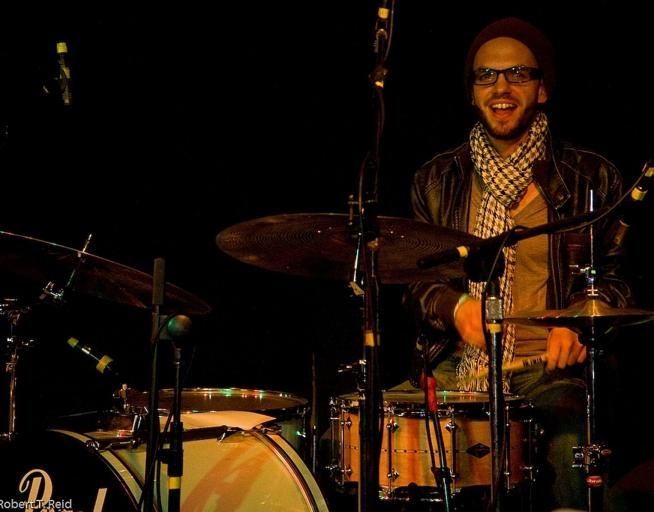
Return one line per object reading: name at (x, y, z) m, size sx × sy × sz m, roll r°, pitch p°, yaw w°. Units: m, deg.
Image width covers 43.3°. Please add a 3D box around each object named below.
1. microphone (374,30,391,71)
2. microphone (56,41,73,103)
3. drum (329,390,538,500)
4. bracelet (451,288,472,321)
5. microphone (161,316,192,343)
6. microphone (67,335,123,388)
microphone at (0.203, -0.835, 3.315) m, size 0.043 × 0.157 × 0.062 m, roll 16°, pitch 16°, yaw 35°
microphone at (-1.402, -0.969, 4.394) m, size 0.062 × 0.173 × 0.320 m, roll -8°, pitch -42°, yaw -15°
drum at (0.413, 0.752, 3.455) m, size 0.879 × 0.536 × 0.579 m, roll -1°, pitch -25°, yaw 5°
bracelet at (0.590, 0.207, 3.603) m, size 0.077 × 0.126 × 0.060 m, roll -1°, pitch -25°, yaw 5°
microphone at (-0.538, 0.256, 2.957) m, size 0.103 × 0.098 × 0.060 m, roll 2°, pitch -25°, yaw -2°
microphone at (-0.958, 0.424, 3.337) m, size 0.068 × 0.071 × 0.237 m, roll 17°, pitch -31°, yaw 37°
